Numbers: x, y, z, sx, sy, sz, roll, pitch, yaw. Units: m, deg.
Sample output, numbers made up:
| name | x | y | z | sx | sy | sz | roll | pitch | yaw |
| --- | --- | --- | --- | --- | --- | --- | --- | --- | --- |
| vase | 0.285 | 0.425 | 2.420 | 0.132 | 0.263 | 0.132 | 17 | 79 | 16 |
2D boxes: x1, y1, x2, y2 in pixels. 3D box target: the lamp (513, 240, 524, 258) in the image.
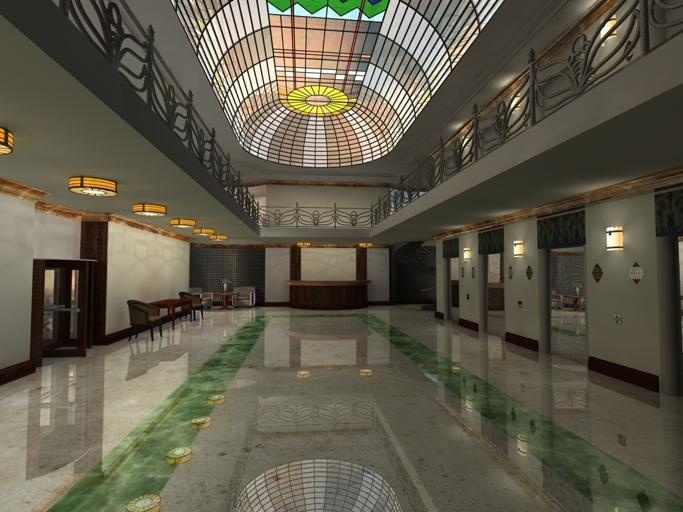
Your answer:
| name | x | y | z | sx | sy | sz | roll | pitch | yaw |
| --- | --- | --- | --- | --- | --- | --- | --- | --- | --- |
| lamp | 4.495 | -0.162 | 9.057 | 0.186 | 0.393 | 0.415 | 1 | -5 | -4 |

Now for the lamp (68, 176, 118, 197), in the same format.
| name | x | y | z | sx | sy | sz | roll | pitch | yaw |
| --- | --- | --- | --- | --- | --- | --- | --- | --- | --- |
| lamp | -4.023 | -1.150 | 5.927 | 0.436 | 0.108 | 0.442 | -2 | -5 | 9 |

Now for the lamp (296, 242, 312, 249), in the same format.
| name | x | y | z | sx | sy | sz | roll | pitch | yaw |
| --- | --- | --- | --- | --- | --- | --- | --- | --- | --- |
| lamp | -1.902 | -0.467 | 18.265 | 0.695 | 0.233 | 1.013 | 1 | -3 | -6 |

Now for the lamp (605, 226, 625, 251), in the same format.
| name | x | y | z | sx | sy | sz | roll | pitch | yaw |
| --- | --- | --- | --- | --- | --- | --- | --- | --- | --- |
| lamp | 4.841 | -0.296 | 6.373 | 0.127 | 0.444 | 0.333 | 1 | -4 | 0 |
